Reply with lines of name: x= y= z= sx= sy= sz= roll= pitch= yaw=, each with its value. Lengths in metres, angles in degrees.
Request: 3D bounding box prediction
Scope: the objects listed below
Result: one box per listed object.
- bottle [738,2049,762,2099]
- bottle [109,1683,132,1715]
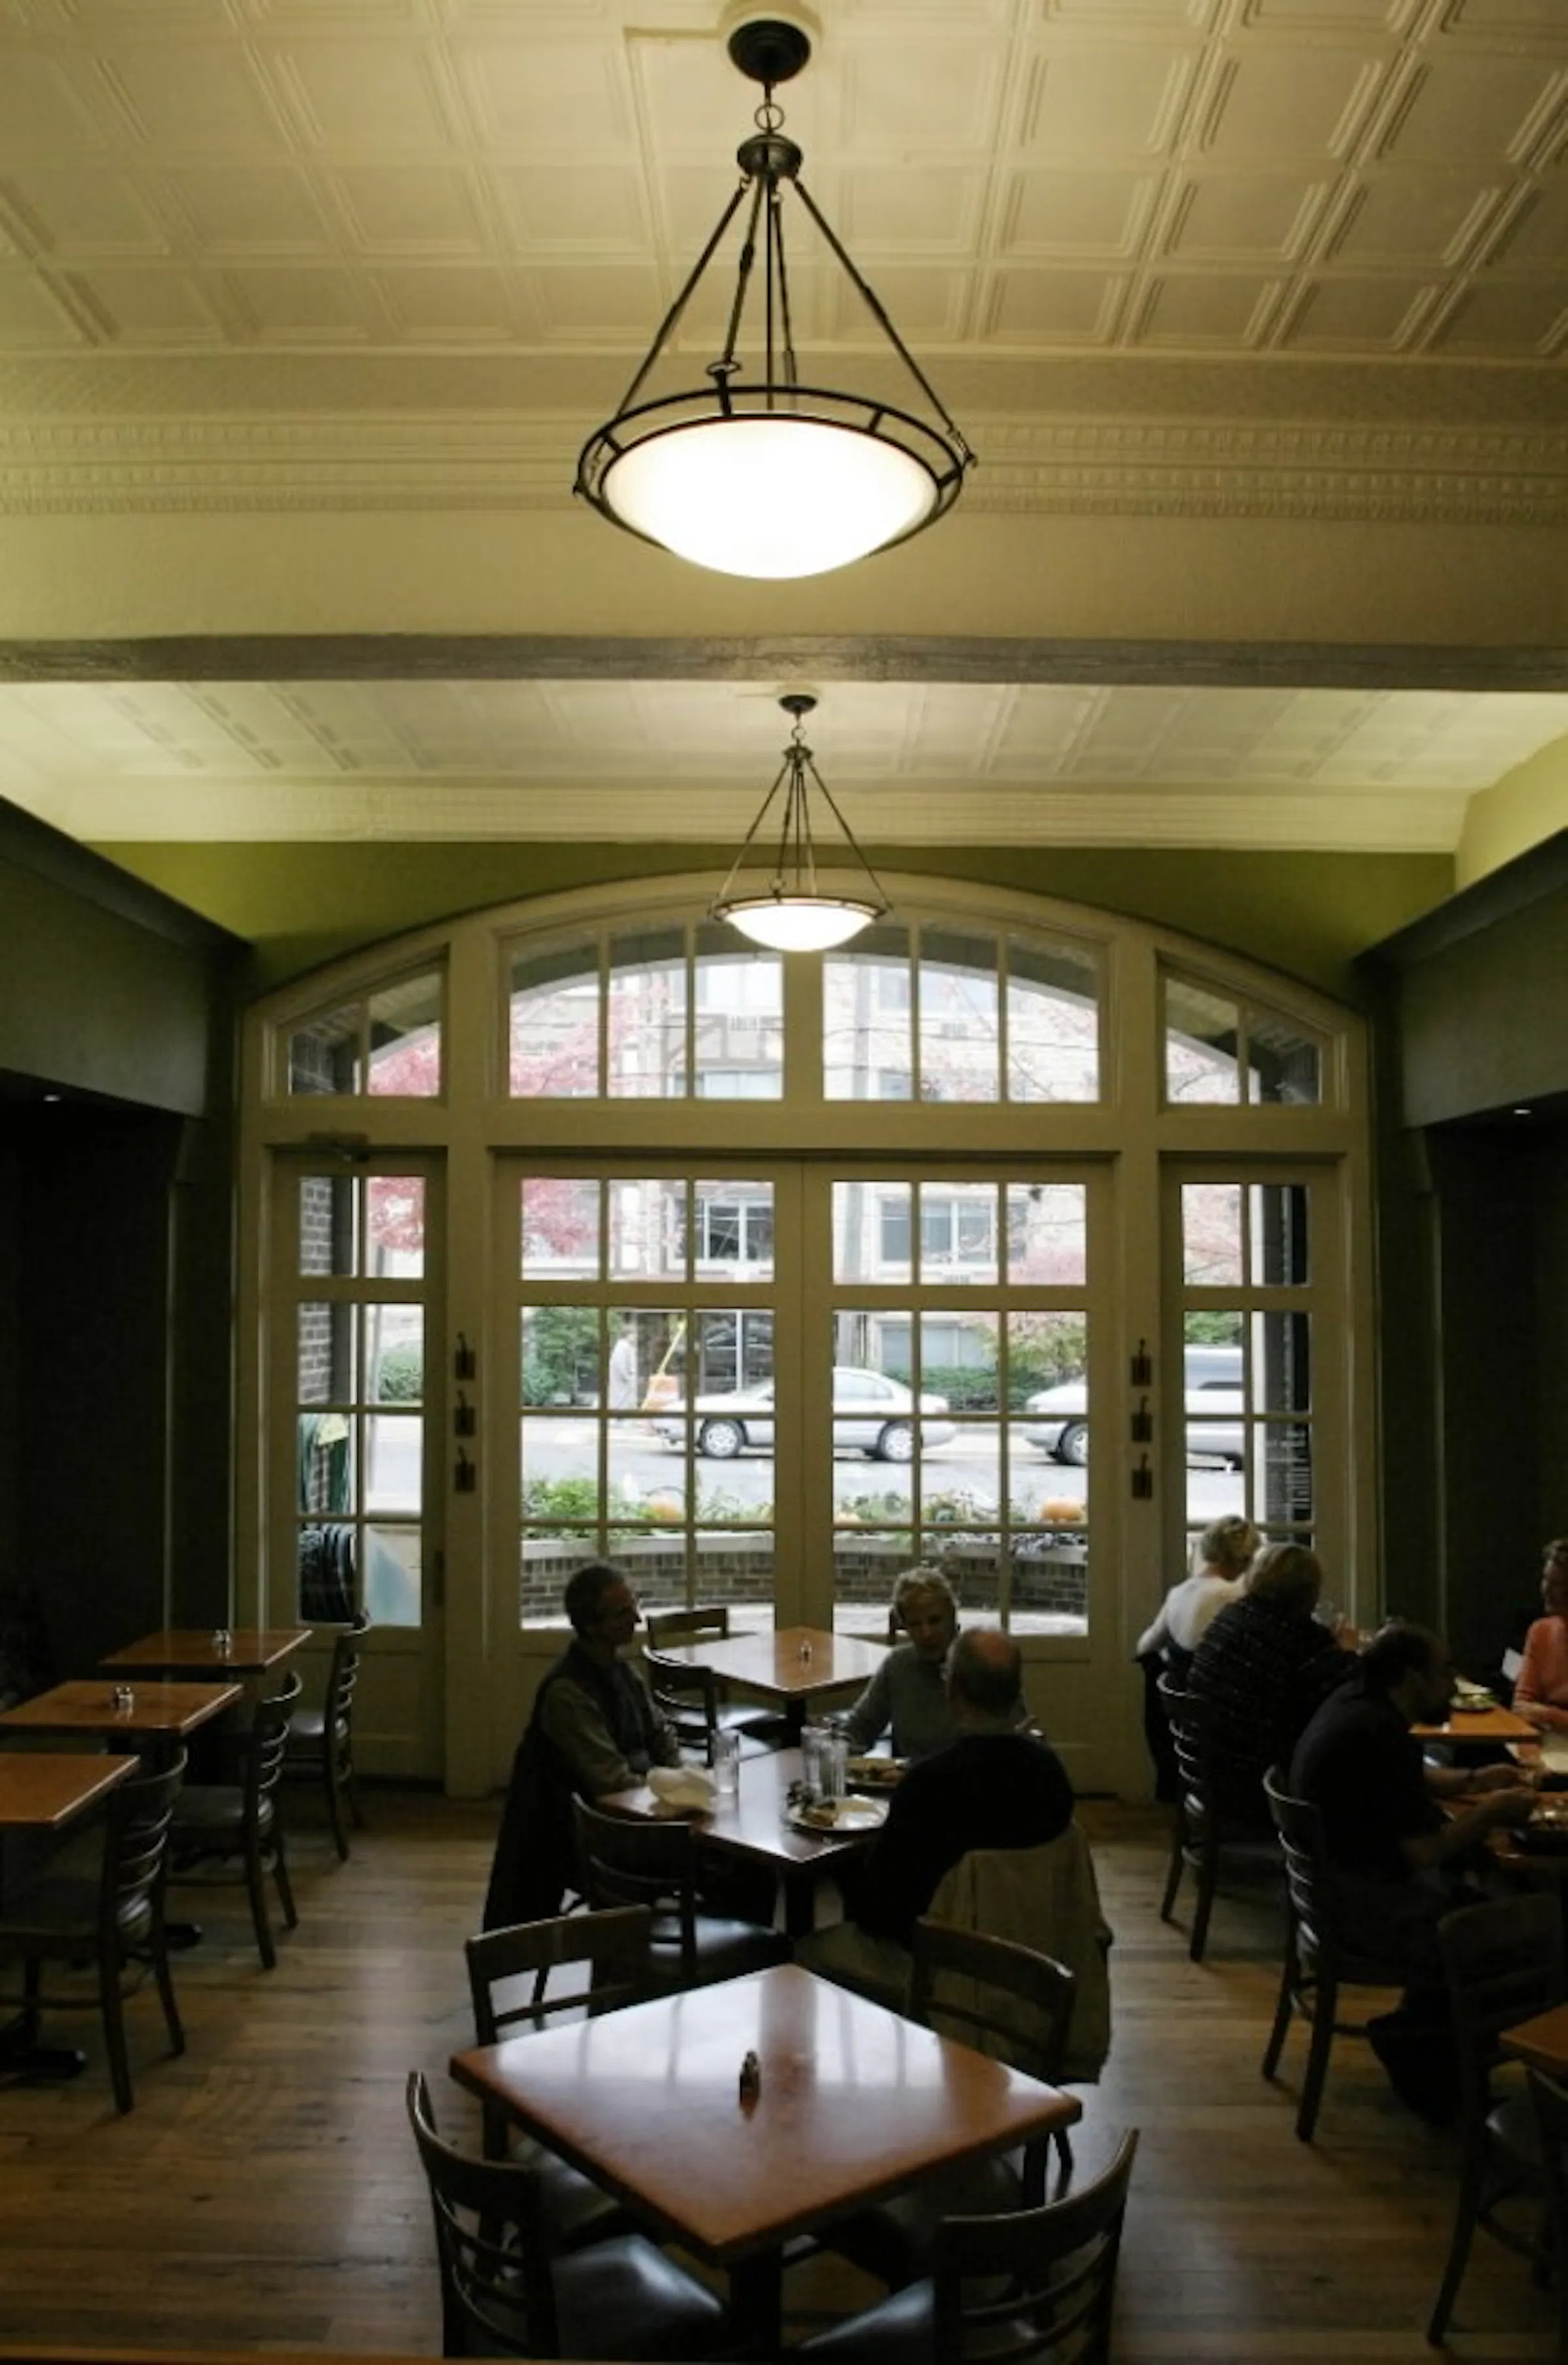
bottle: x=-0.053 y=1.366 z=2.862 sx=0.044 sy=0.071 sz=0.039 roll=3 pitch=-17 yaw=-7
bottle: x=-1.935 y=1.503 z=5.480 sx=0.059 sy=0.111 sz=0.060 roll=0 pitch=3 yaw=0
